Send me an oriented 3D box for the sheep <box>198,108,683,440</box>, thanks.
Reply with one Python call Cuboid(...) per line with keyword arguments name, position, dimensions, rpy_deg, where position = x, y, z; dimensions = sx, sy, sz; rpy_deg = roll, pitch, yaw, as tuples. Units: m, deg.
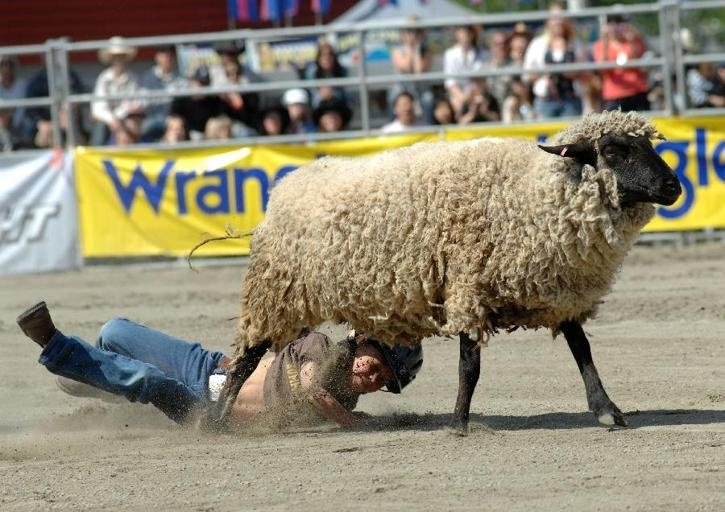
Cuboid(name="sheep", position=(0.875, 0.298, 14.888), dimensions=(3.671, 2.190, 1.291), rpy_deg=(-2, -12, 14))
